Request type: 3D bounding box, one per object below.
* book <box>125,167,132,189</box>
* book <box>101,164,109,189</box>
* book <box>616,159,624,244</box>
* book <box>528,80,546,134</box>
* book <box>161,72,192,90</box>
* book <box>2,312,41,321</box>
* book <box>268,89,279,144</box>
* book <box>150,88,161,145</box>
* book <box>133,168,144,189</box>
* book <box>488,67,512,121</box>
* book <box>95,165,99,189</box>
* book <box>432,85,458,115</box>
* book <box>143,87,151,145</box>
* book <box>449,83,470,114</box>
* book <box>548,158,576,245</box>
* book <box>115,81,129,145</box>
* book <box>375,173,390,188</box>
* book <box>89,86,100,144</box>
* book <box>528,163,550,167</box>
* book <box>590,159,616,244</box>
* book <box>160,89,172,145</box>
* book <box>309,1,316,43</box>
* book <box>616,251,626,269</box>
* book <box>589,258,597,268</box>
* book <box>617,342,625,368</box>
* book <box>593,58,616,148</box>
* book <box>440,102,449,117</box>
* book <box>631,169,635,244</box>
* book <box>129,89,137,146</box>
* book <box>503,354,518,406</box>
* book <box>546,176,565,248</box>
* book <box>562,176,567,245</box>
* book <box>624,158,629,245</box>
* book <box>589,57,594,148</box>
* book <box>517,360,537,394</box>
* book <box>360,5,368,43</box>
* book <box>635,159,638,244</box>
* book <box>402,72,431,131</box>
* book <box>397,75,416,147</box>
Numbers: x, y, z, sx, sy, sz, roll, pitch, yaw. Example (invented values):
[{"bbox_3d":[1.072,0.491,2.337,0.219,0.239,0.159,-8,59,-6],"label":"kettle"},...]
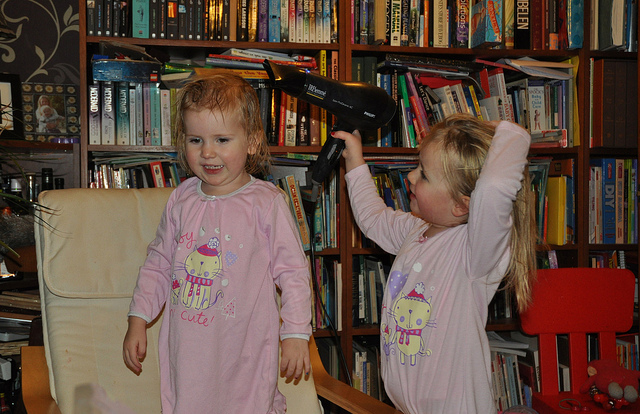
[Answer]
[{"bbox_3d":[-0.913,-0.137,2.858,0.016,0.070,0.065,-5,0,2],"label":"book"},{"bbox_3d":[-1.016,-0.149,2.840,0.033,0.100,0.015,-1,1,-12],"label":"book"},{"bbox_3d":[1.492,-0.031,3.002,0.046,0.416,0.014,-1,1,-14],"label":"book"},{"bbox_3d":[1.083,-0.485,3.013,0.085,0.238,0.019,-1,1,-15],"label":"book"},{"bbox_3d":[-0.683,-0.600,2.862,0.138,0.067,0.076,-1,1,-12],"label":"book"},{"bbox_3d":[-1.433,0.514,2.854,0.222,0.035,0.017,9,4,-14],"label":"book"},{"bbox_3d":[-0.227,-0.430,2.879,0.063,0.180,0.184,4,32,-7],"label":"book"},{"bbox_3d":[-0.777,-0.429,2.836,0.048,0.260,0.010,-1,1,-17],"label":"book"},{"bbox_3d":[-0.861,-0.139,2.863,0.017,0.073,0.076,-7,11,-38],"label":"book"},{"bbox_3d":[0.900,-0.558,2.996,0.125,0.253,0.089,-1,1,-29],"label":"book"},{"bbox_3d":[-1.056,-0.150,2.840,0.014,0.101,0.028,-1,1,-37],"label":"book"},{"bbox_3d":[0.620,-0.531,2.951,0.124,0.129,0.030,-17,-3,-7],"label":"book"},{"bbox_3d":[-0.818,-0.433,2.830,0.031,0.325,0.240,-1,4,-12],"label":"book"},{"bbox_3d":[0.700,-0.517,2.978,0.034,0.146,0.147,-21,-43,6],"label":"book"},{"bbox_3d":[1.200,-0.027,3.008,0.054,0.418,0.129,-1,1,-40],"label":"book"},{"bbox_3d":[-0.926,-0.442,2.816,0.061,0.284,0.013,-1,1,-10],"label":"book"},{"bbox_3d":[0.300,-0.128,2.928,0.074,0.085,0.021,4,-4,0],"label":"book"},{"bbox_3d":[-1.048,-0.427,2.793,0.045,0.259,0.016,-1,1,-15],"label":"book"},{"bbox_3d":[1.099,-0.214,3.019,0.051,0.013,0.048,2,3,36],"label":"book"},{"bbox_3d":[1.421,-0.032,3.000,0.037,0.397,0.078,7,-10,-15],"label":"book"},{"bbox_3d":[-0.730,-0.423,2.840,0.050,0.254,0.017,-1,1,-15],"label":"book"},{"bbox_3d":[-0.038,-0.879,2.861,0.030,0.191,0.007,-1,1,-7],"label":"book"},{"bbox_3d":[1.529,0.262,3.062,0.068,0.083,0.023,-1,1,-38],"label":"book"},{"bbox_3d":[1.362,0.277,3.017,0.043,0.044,0.024,0,-4,-8],"label":"book"},{"bbox_3d":[1.501,0.729,2.993,0.027,0.095,0.069,1,-1,4],"label":"book"},{"bbox_3d":[1.393,-0.506,2.951,0.107,0.422,0.030,-1,1,-4],"label":"book"},{"bbox_3d":[0.605,-0.476,2.939,0.034,0.071,0.036,0,1,43],"label":"book"},{"bbox_3d":[1.563,-0.008,3.015,0.016,0.364,0.027,0,1,25],"label":"book"},{"bbox_3d":[-0.878,-0.424,2.823,0.032,0.253,0.012,-1,1,-15],"label":"book"},{"bbox_3d":[0.934,0.838,2.901,0.040,0.182,0.177,-10,1,4],"label":"book"},{"bbox_3d":[1.169,0.029,2.989,0.051,0.446,0.333,-1,-2,13],"label":"book"},{"bbox_3d":[1.204,0.014,2.974,0.028,0.329,0.011,-1,1,-24],"label":"book"},{"bbox_3d":[1.529,-0.030,3.009,0.039,0.419,0.016,-2,1,-42],"label":"book"},{"bbox_3d":[1.329,-0.510,2.955,0.040,0.434,0.012,-2,1,-44],"label":"book"},{"bbox_3d":[1.014,0.830,2.964,0.028,0.121,0.120,-12,12,-17],"label":"book"},{"bbox_3d":[0.205,-0.873,2.886,0.051,0.158,0.159,0,8,7],"label":"book"},{"bbox_3d":[1.573,-0.026,3.001,0.012,0.413,0.049,0,1,24],"label":"book"},{"bbox_3d":[0.498,-0.481,2.932,0.041,0.369,0.314,-9,4,-5],"label":"book"},{"bbox_3d":[0.419,-0.473,2.935,0.044,0.305,0.125,2,10,-12],"label":"book"}]
